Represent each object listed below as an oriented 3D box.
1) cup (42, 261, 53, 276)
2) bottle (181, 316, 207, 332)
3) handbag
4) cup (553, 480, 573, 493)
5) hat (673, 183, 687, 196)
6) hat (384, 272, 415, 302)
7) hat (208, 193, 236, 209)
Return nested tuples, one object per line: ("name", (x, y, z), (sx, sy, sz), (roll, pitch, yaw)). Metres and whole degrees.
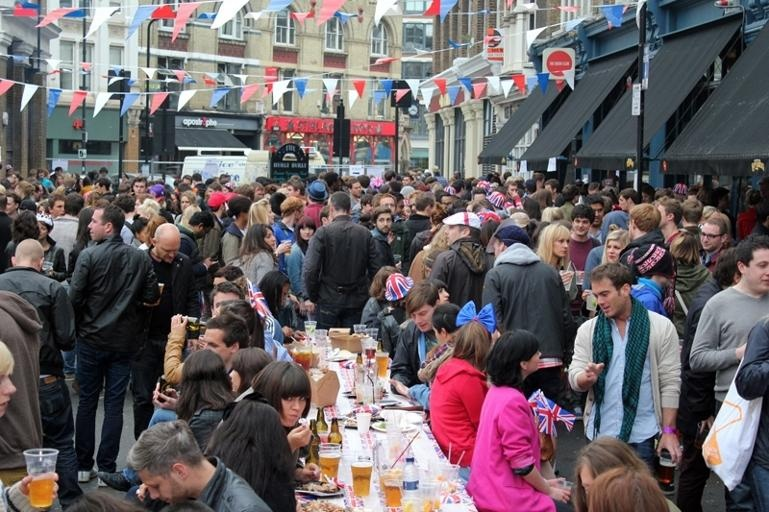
("cup", (-4.286, 0.158, 12.444), (0.172, 0.150, 0.185), (2, -3, 0))
("bottle", (-2.163, 0.809, 11.058), (0.259, 0.187, 0.293), (4, 1, -16))
("handbag", (3.457, 1.673, 9.729), (0.516, 1.377, 0.195), (4, 1, 23))
("cup", (1.795, 2.332, 9.913), (0.320, 0.102, 0.179), (8, -22, -37))
("hat", (5.446, -1.213, 18.078), (0.218, 0.196, 0.339), (4, 14, 18))
("hat", (0.160, 0.380, 12.474), (0.270, 0.168, 0.369), (-26, 21, 7))
("hat", (-2.704, -0.910, 16.240), (0.291, 0.245, 0.487), (24, 17, 22))
